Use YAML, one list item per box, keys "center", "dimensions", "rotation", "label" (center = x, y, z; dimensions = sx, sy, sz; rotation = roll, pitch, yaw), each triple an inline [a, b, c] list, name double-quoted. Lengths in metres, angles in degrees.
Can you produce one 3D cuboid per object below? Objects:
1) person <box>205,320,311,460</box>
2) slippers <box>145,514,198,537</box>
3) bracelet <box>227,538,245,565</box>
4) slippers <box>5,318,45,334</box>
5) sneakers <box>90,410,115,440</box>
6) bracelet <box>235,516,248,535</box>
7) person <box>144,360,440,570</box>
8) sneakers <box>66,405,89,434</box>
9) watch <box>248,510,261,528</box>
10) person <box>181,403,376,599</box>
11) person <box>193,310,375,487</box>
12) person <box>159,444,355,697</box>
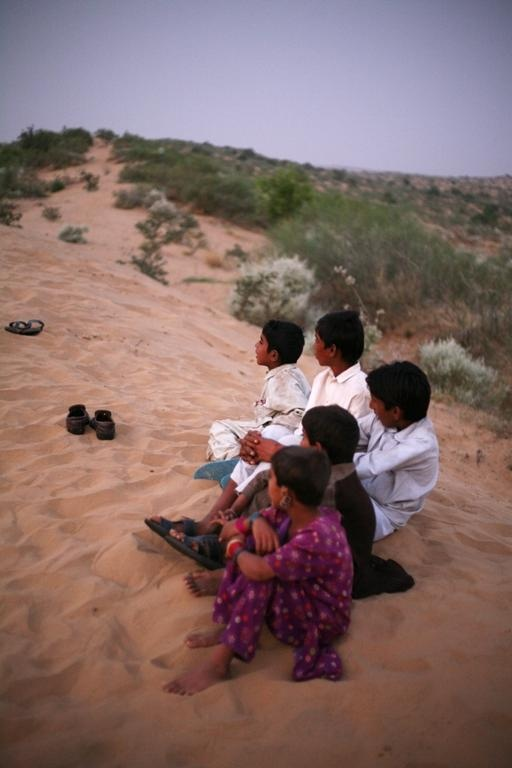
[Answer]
- center: [-0.004, 0.044, 3.704]
  dimensions: [0.738, 0.890, 0.679]
  rotation: [1, 9, 14]
  label: "person"
- center: [-0.425, 0.704, 2.843]
  dimensions: [0.277, 0.074, 0.104]
  rotation: [15, 4, -28]
  label: "slippers"
- center: [-0.079, 0.673, 2.280]
  dimensions: [0.039, 0.055, 0.124]
  rotation: [15, 17, -11]
  label: "bracelet"
- center: [-2.522, -0.617, 6.187]
  dimensions: [0.281, 0.109, 0.205]
  rotation: [12, 42, 4]
  label: "slippers"
- center: [-1.144, 0.312, 4.298]
  dimensions: [0.130, 0.133, 0.297]
  rotation: [-2, 21, -17]
  label: "sneakers"
- center: [-0.059, 0.603, 2.434]
  dimensions: [0.062, 0.062, 0.058]
  rotation: [-10, 51, 15]
  label: "bracelet"
- center: [0.206, 0.418, 3.045]
  dimensions: [1.556, 0.948, 0.650]
  rotation: [-5, 8, -10]
  label: "person"
- center: [-1.353, 0.264, 4.312]
  dimensions: [0.118, 0.132, 0.293]
  rotation: [-1, 16, -4]
  label: "sneakers"
- center: [-0.004, 0.569, 2.396]
  dimensions: [0.073, 0.062, 0.029]
  rotation: [-12, -19, 35]
  label: "watch"
- center: [0.088, 0.455, 2.637]
  dimensions: [0.911, 0.901, 0.364]
  rotation: [-1, 32, -3]
  label: "person"
- center: [0.310, -0.012, 3.153]
  dimensions: [0.679, 1.049, 1.076]
  rotation: [2, -15, 11]
  label: "person"
- center: [0.117, 0.593, 2.509]
  dimensions: [0.902, 1.080, 0.747]
  rotation: [6, 13, 5]
  label: "person"
